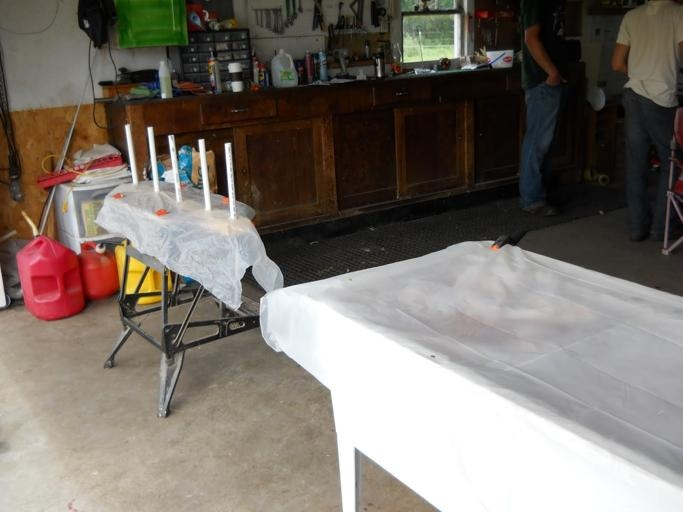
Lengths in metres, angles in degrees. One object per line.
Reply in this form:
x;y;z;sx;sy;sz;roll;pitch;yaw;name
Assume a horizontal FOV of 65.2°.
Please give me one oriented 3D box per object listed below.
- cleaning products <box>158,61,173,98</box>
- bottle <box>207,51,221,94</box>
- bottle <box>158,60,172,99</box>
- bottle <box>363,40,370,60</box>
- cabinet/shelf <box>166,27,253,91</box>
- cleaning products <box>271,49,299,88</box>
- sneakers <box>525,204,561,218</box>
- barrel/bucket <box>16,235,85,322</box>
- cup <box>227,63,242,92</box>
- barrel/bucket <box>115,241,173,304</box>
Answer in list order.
-1.372;-1.372;4.138;0.090;0.288;0.094;11;39;7;cleaning products
-1.053;-1.523;4.393;0.096;0.314;0.345;-8;22;-11;bottle
-1.382;-1.375;4.148;0.101;0.264;0.333;-10;22;-16;bottle
0.265;-2.093;5.386;0.057;0.176;0.088;3;22;18;bottle
-1.125;-1.651;4.448;0.582;0.578;0.211;-5;13;-22;cabinet/shelf
-0.510;-1.677;4.736;0.212;0.330;0.316;-15;36;-17;cleaning products
1.902;-0.434;5.025;0.223;0.099;0.117;3;13;28;sneakers
-1.986;0.172;3.633;0.340;0.550;0.368;2;25;-1;barrel/bucket
-0.872;-1.484;4.398;0.111;0.221;0.328;-8;22;-9;cup
-1.391;0.157;3.724;0.249;0.410;0.743;-16;24;-28;barrel/bucket
